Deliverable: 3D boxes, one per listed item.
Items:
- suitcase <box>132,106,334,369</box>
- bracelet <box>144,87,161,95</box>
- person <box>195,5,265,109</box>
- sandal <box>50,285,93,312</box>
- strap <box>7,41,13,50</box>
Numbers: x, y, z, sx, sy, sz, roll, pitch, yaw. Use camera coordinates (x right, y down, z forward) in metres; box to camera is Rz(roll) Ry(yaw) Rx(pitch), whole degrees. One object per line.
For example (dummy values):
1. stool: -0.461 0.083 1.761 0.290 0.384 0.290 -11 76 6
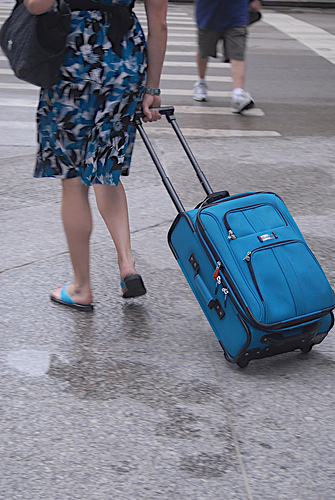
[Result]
1. suitcase: 0.234 -0.066 1.956 0.430 0.385 1.054 -16 65 -38
2. bracelet: -0.066 -0.736 2.038 0.051 0.021 0.039 7 18 19
3. person: 0.835 -2.720 6.170 0.746 1.301 1.395 -18 41 -23
4. sandal: -0.516 0.250 2.352 0.229 0.079 0.084 22 26 28
5. strap: -0.568 -0.737 1.579 0.007 0.033 0.039 -27 45 -32
